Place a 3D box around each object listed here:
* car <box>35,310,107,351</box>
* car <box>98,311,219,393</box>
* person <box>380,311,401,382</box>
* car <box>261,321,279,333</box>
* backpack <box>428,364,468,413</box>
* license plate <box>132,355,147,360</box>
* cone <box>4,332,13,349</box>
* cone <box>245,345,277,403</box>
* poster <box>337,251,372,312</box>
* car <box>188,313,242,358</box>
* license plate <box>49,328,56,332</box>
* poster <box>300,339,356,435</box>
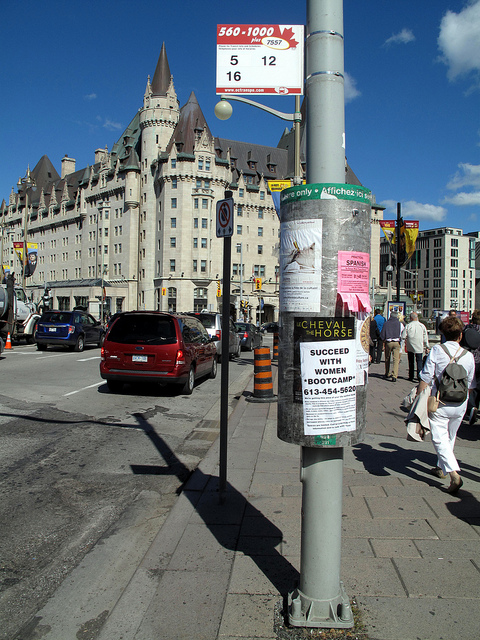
[{"bbox_3d":[-5.871,0.321,22.229,1.072,1.372,2.840,0,2,18],"label":"car"},{"bbox_3d":[-1.312,0.479,11.720,0.977,1.066,2.352,1,3,13],"label":"car"},{"bbox_3d":[3.477,0.549,14.580,0.400,1.539,1.127,0,2,14],"label":"person"},{"bbox_3d":[2.116,0.374,49.270,1.376,0.876,0.855,-15,17,-25],"label":"car"},{"bbox_3d":[1.811,0.563,5.541,0.254,0.476,0.435,6,36,15],"label":"backpack"},{"bbox_3d":[-1.684,0.598,10.625,0.242,0.075,0.041,0,2,11],"label":"license plate"},{"bbox_3d":[-7.899,0.686,21.570,0.224,0.553,1.180,-1,2,-21],"label":"cone"},{"bbox_3d":[0.354,0.888,10.819,0.513,0.895,0.690,-1,2,0],"label":"cone"},{"bbox_3d":[0.580,-0.193,3.210,0.153,0.336,0.067,1,30,14],"label":"poster"},{"bbox_3d":[-0.609,0.390,18.016,0.856,1.105,1.810,-1,2,20],"label":"car"},{"bbox_3d":[-6.242,0.279,21.090,0.145,0.133,0.092,1,-13,-7],"label":"license plate"},{"bbox_3d":[0.457,0.322,3.245,0.380,0.080,0.734,-2,40,7],"label":"poster"}]
